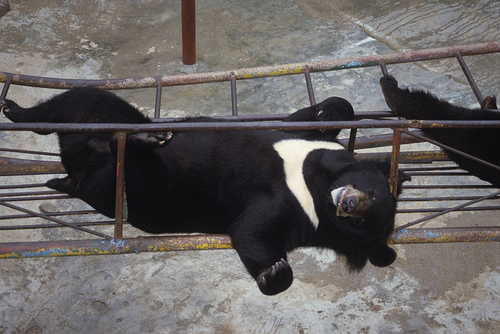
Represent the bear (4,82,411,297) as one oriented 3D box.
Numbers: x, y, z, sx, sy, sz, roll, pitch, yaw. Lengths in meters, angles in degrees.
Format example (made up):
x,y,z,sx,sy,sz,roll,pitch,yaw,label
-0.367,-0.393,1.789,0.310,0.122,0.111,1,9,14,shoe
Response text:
x,y,z,sx,sy,sz,roll,pitch,yaw,label
-0.245,0.319,7.236,3.753,1.146,1.938,4,47,0,bear
